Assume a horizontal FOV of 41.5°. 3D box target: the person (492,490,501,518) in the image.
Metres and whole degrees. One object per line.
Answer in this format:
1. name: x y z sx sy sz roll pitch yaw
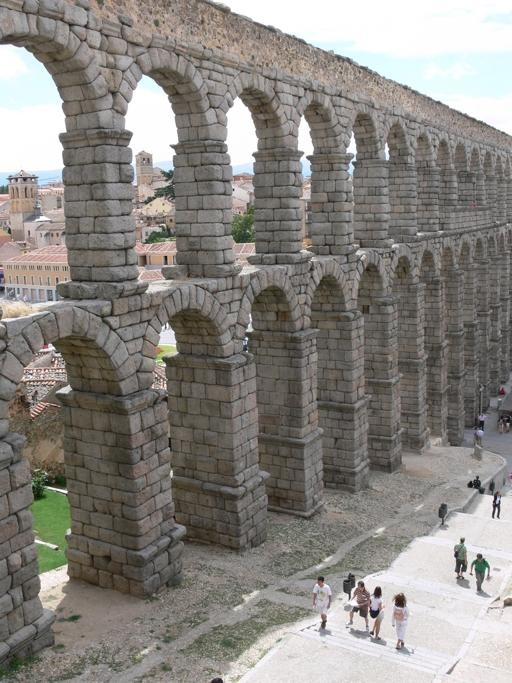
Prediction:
1. person: 6.396 4.350 18.016 0.224 0.716 1.135 4 0 21

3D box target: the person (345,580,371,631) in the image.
1. person: 1.558 3.981 10.168 0.303 0.707 0.674 4 0 10

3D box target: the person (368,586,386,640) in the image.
1. person: 1.742 3.925 9.879 0.187 0.759 0.515 4 0 9

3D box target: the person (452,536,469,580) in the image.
1. person: 3.942 4.125 13.006 0.240 0.711 0.974 4 0 18

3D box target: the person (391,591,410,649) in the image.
1. person: 2.036 3.909 9.568 0.188 0.755 0.579 4 0 15

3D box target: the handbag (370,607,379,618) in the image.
1. handbag: 1.697 3.925 9.723 0.143 0.149 0.074 3 0 32
